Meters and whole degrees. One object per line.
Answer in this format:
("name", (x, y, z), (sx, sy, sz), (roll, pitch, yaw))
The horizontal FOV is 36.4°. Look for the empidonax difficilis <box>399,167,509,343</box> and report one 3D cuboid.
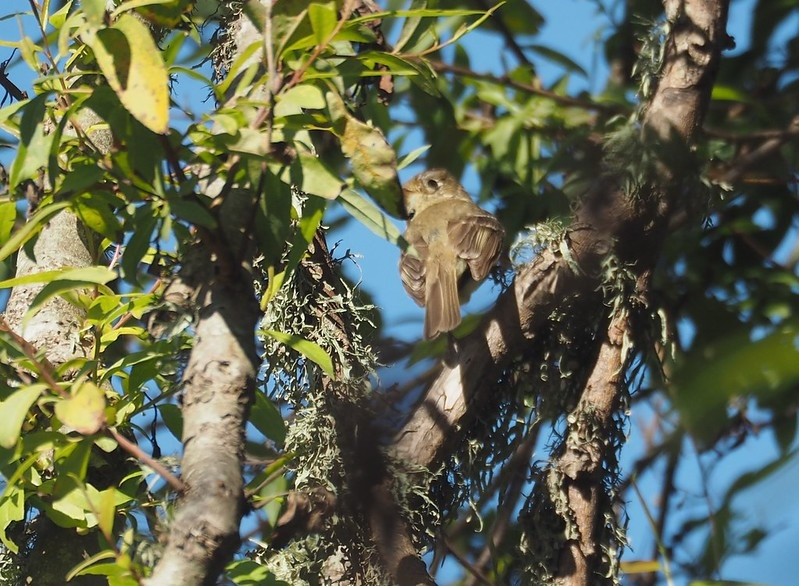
("empidonax difficilis", (0.232, -0.192, 5.700), (0.434, 0.653, 0.811), (-6, 25, -1))
